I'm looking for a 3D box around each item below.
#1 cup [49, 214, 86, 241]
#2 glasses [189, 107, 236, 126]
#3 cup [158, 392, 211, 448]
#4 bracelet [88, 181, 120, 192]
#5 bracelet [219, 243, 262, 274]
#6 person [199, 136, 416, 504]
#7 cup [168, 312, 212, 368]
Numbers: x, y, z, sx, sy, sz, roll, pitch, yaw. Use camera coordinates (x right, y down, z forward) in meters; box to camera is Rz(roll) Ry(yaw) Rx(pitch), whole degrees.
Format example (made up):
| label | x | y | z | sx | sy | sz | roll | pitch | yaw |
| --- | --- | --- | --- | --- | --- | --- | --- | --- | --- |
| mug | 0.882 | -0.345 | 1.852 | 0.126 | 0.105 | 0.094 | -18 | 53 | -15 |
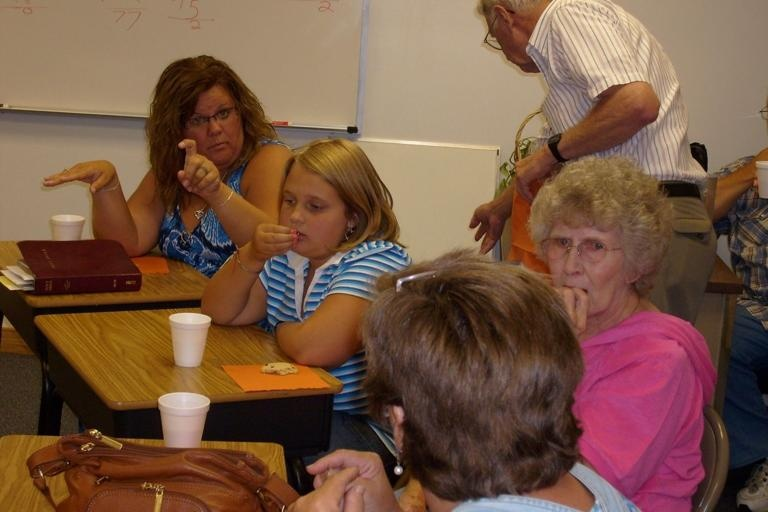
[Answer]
| label | x | y | z | sx | sy | sz | roll | pitch | yaw |
| --- | --- | --- | --- | --- | --- | --- | --- | --- | --- |
| cup | -1.359 | -0.131 | 2.780 | 0.119 | 0.098 | 0.125 | 0 | 8 | 0 |
| glasses | -0.758 | -0.617 | 2.853 | 0.190 | 0.083 | 0.045 | -1 | 5 | -9 |
| cup | -0.487 | 0.410 | 1.570 | 0.119 | 0.124 | 0.120 | 2 | -21 | 1 |
| bracelet | -1.219 | -0.305 | 2.823 | 0.049 | 0.040 | 0.151 | 2 | 6 | 19 |
| bracelet | -0.493 | 0.009 | 2.243 | 0.116 | 0.095 | 0.054 | -13 | 14 | 20 |
| person | -0.244 | 0.213 | 2.103 | 0.678 | 1.118 | 0.710 | 2 | -1 | -25 |
| cup | -0.554 | 0.235 | 1.839 | 0.133 | 0.158 | 0.140 | 2 | 2 | 0 |
